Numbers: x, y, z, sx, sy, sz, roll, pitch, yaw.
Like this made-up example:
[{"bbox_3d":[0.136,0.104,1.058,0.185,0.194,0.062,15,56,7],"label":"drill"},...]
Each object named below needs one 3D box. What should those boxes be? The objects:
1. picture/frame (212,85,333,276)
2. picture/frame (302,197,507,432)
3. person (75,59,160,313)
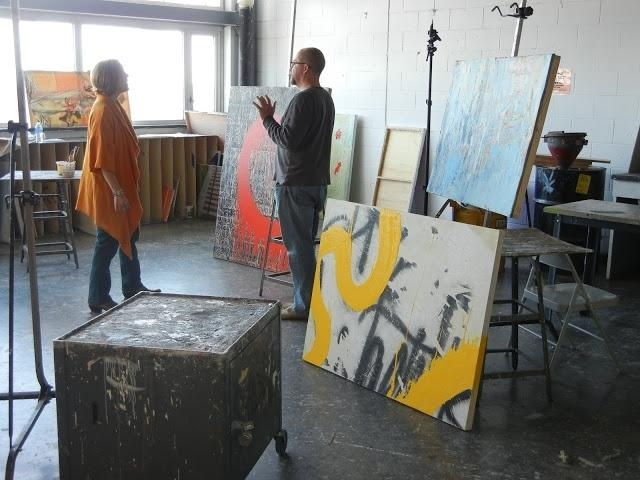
[{"bbox_3d":[-0.471,-0.534,4.750,0.090,2.540,1.660,0,8,-42],"label":"picture/frame"},{"bbox_3d":[0.513,0.512,3.089,0.106,1.043,1.111,6,7,-44],"label":"picture/frame"},{"bbox_3d":[-1.732,-0.405,4.049,0.522,2.094,0.477,-6,15,-28],"label":"person"}]
